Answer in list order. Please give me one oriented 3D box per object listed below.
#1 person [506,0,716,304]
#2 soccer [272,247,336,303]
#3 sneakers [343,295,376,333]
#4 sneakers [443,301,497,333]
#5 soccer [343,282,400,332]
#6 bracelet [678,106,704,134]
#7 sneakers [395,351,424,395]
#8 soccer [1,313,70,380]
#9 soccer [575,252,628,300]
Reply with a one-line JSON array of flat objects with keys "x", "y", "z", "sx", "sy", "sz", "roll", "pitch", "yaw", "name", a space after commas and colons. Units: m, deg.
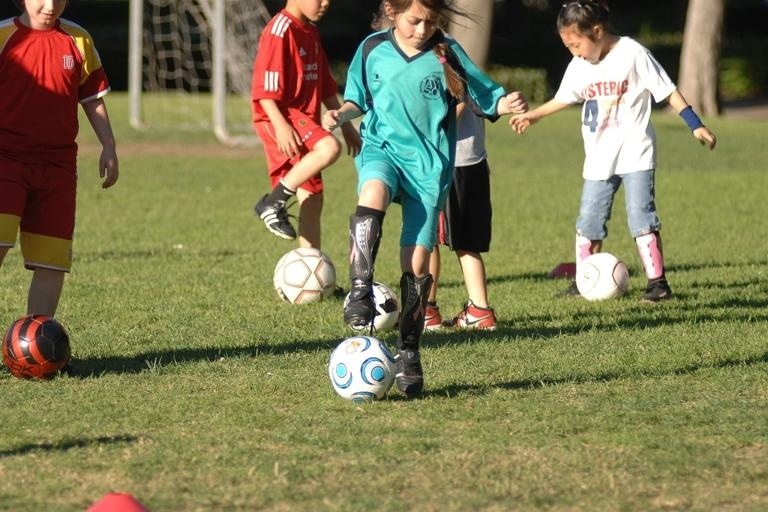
[{"x": 1.817, "y": -0.809, "z": 7.846, "sx": 1.138, "sy": 2.295, "sz": 0.872, "roll": 2, "pitch": 11, "yaw": 5, "name": "person"}, {"x": -0.622, "y": 0.175, "z": 7.834, "sx": 0.416, "sy": 0.413, "sz": 0.420, "roll": -5, "pitch": 26, "yaw": -3, "name": "soccer"}, {"x": -0.149, "y": 0.362, "z": 6.169, "sx": 0.179, "sy": 0.266, "sz": 0.188, "roll": 0, "pitch": 11, "yaw": -6, "name": "sneakers"}, {"x": 0.660, "y": 0.451, "z": 7.302, "sx": 0.428, "sy": 0.182, "sz": 0.169, "roll": 2, "pitch": 4, "yaw": 32, "name": "sneakers"}, {"x": -0.050, "y": 0.354, "z": 7.097, "sx": 0.329, "sy": 0.382, "sz": 0.392, "roll": 2, "pitch": -33, "yaw": 6, "name": "soccer"}, {"x": 2.306, "y": -1.011, "z": 7.491, "sx": 0.137, "sy": 0.237, "sz": 0.096, "roll": -32, "pitch": -28, "yaw": 6, "name": "bracelet"}, {"x": 0.161, "y": 0.724, "z": 6.210, "sx": 0.118, "sy": 0.142, "sz": 0.332, "roll": 0, "pitch": 40, "yaw": -4, "name": "sneakers"}, {"x": -2.219, "y": 0.577, "z": 6.498, "sx": 0.457, "sy": 0.406, "sz": 0.393, "roll": 0, "pitch": -24, "yaw": -42, "name": "soccer"}, {"x": 1.743, "y": 0.183, "z": 8.057, "sx": 0.380, "sy": 0.382, "sz": 0.358, "roll": -8, "pitch": -18, "yaw": -17, "name": "soccer"}]
